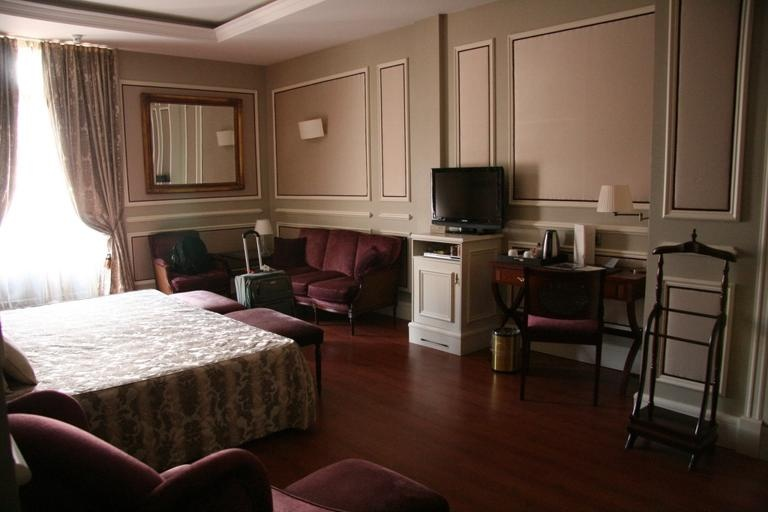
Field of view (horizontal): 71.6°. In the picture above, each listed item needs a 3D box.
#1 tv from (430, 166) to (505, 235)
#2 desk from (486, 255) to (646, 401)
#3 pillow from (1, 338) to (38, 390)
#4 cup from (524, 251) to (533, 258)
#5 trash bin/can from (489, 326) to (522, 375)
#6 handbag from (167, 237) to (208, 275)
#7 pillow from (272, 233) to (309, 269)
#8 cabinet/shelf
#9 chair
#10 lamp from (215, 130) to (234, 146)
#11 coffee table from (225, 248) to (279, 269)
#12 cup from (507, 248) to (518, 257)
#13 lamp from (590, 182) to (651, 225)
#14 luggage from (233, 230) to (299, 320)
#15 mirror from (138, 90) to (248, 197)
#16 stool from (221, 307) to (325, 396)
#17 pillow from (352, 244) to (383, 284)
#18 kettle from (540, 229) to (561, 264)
[{"bbox_3d":[0.802,-0.522,4.926,0.663,0.530,0.133,4,5,39],"label":"tv"},{"bbox_3d":[1.351,0.510,4.071,1.014,0.942,0.750,1,13,20],"label":"desk"},{"bbox_3d":[-1.994,0.590,2.914,0.145,0.269,0.333,-7,13,-34],"label":"pillow"},{"bbox_3d":[1.185,-0.010,4.391,0.059,0.053,0.058,-1,0,0],"label":"cup"},{"bbox_3d":[0.942,0.768,4.378,0.326,0.328,0.307,1,4,7],"label":"trash bin/can"},{"bbox_3d":[-2.200,-0.011,6.072,0.440,0.452,0.440,9,7,41],"label":"handbag"},{"bbox_3d":[-1.074,-0.041,6.171,0.424,0.389,0.135,-1,-6,-13],"label":"pillow"},{"bbox_3d":[0.684,0.307,5.044,0.669,1.045,0.745,-8,9,-42],"label":"cabinet/shelf"},{"bbox_3d":[1.291,0.548,3.863,0.573,0.985,0.397,4,12,19],"label":"chair"},{"bbox_3d":[-1.982,-1.486,6.687,0.196,0.148,0.205,0,-9,-6],"label":"lamp"},{"bbox_3d":[-1.667,0.056,6.491,0.336,0.215,0.430,-5,8,-40],"label":"coffee table"},{"bbox_3d":[1.100,-0.030,4.509,0.081,0.071,0.079,-5,9,1],"label":"cup"},{"bbox_3d":[1.802,-0.409,4.046,0.393,0.241,0.256,0,1,-23],"label":"lamp"},{"bbox_3d":[-1.079,0.249,4.762,0.446,0.919,0.418,-9,9,-25],"label":"luggage"},{"bbox_3d":[-2.361,-1.381,6.431,1.363,1.250,0.093,-7,13,-36],"label":"mirror"},{"bbox_3d":[-0.805,0.530,3.983,0.581,0.456,0.906,-11,17,-43],"label":"stool"},{"bbox_3d":[-0.147,0.076,5.249,0.261,0.289,0.180,0,11,-2],"label":"pillow"},{"bbox_3d":[1.374,-0.067,4.371,0.127,0.353,0.269,2,6,39],"label":"kettle"}]
